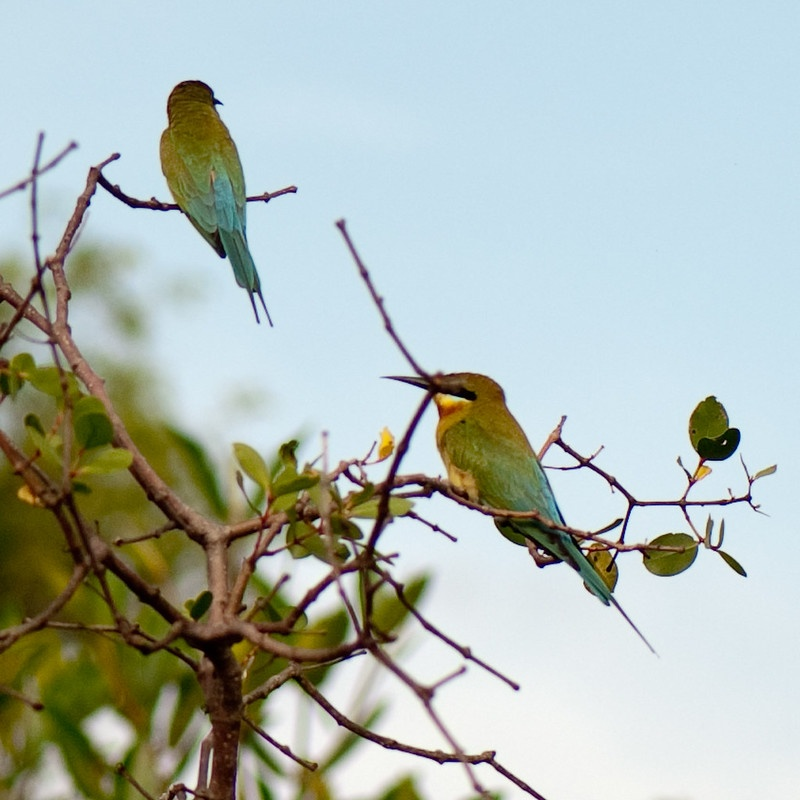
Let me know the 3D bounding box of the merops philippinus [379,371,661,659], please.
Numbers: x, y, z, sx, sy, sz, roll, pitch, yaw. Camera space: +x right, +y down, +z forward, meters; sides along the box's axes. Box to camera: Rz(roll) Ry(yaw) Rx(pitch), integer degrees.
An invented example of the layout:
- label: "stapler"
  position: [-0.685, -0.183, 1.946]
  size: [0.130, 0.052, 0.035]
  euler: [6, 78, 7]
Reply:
- label: "merops philippinus"
  position: [0.411, 0.266, 4.708]
  size: [1.103, 0.676, 0.303]
  euler: [10, -5, 36]

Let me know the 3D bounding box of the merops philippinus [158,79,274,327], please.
- label: "merops philippinus"
  position: [-0.738, -0.880, 5.881]
  size: [0.963, 0.413, 0.279]
  euler: [46, -16, 12]
